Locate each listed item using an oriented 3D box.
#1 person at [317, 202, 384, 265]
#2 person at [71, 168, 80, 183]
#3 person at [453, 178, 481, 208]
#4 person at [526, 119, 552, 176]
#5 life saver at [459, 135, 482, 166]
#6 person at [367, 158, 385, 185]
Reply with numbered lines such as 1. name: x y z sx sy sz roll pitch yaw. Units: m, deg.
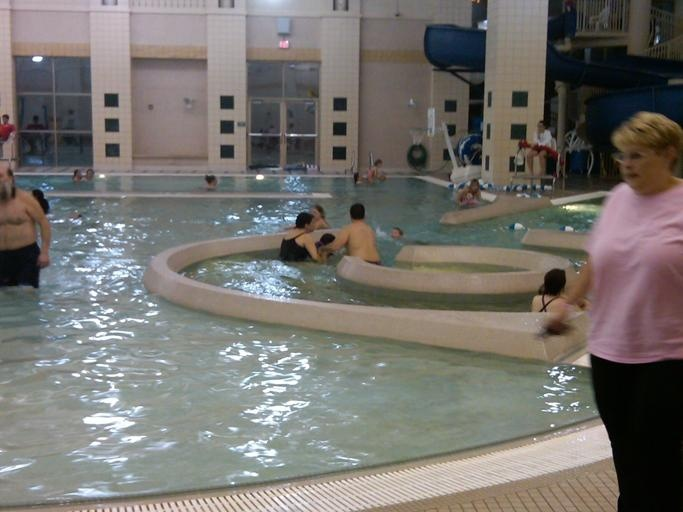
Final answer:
1. person: 0.137 -0.321 8.871 0.664 1.138 0.779 -12 40 -21
2. person: -7.052 -2.167 16.341 0.183 0.360 0.778 -6 15 -24
3. person: 2.840 -1.418 13.586 0.484 0.514 0.919 4 14 16
4. person: 4.725 -2.572 14.558 0.613 1.322 1.199 4 14 17
5. life saver: 3.839 -3.138 18.044 0.806 0.847 0.209 -12 5 -8
6. person: 1.018 -2.514 17.933 0.512 0.664 0.862 3 13 12
